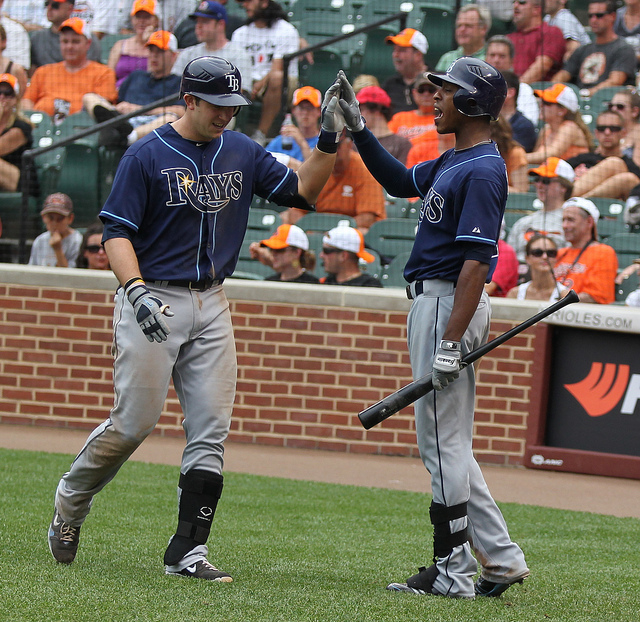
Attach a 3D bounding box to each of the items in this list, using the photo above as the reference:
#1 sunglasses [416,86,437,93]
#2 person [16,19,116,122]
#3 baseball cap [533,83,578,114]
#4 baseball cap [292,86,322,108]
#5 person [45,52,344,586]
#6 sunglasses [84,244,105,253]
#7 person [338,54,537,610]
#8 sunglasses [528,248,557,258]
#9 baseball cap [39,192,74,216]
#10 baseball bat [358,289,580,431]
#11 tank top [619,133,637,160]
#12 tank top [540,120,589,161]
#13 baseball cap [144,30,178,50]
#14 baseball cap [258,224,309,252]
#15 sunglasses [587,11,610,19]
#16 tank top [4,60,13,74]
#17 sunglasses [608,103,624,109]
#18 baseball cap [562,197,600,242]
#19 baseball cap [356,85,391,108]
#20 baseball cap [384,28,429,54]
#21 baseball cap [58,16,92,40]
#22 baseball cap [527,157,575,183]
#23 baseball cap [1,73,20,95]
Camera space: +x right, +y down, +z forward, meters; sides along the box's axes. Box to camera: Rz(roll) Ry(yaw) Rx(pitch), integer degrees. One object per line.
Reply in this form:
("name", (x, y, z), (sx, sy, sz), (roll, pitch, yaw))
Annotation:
("sunglasses", (0.792, -1.647, 12.895), (0.067, 0.045, 0.268), (5, 2, -18))
("person", (-2.033, -1.812, 13.701), (0.808, 1.053, 0.648), (1, 8, -4))
("baseball cap", (1.758, -1.598, 12.890), (0.305, 0.110, 0.191), (20, 7, -5))
("baseball cap", (-0.102, -1.623, 13.210), (0.244, 0.144, 0.377), (4, 3, 4))
("person", (-0.655, 0.027, 8.750), (1.215, 2.440, 0.571), (5, 1, -9))
("sunglasses", (-1.580, -0.435, 12.066), (0.044, 0.052, 0.196), (4, 2, -36))
("person", (0.644, 0.079, 8.772), (1.122, 2.621, 0.683), (5, 1, 7))
("sunglasses", (1.474, -0.388, 11.565), (0.174, 0.062, 0.077), (5, 1, 8))
("baseball cap", (-1.882, -0.761, 12.483), (0.148, 0.115, 0.210), (2, 5, 5))
("baseball bat", (0.909, 0.302, 10.062), (1.622, 0.179, 0.166), (-26, -37, -5))
("tank top", (2.213, -1.170, 12.523), (0.145, 0.154, 0.035), (4, 2, -42))
("tank top", (1.861, -1.235, 12.872), (0.265, 0.317, 0.339), (23, -26, -26))
("baseball cap", (-1.245, -2.131, 13.670), (0.234, 0.178, 0.334), (0, -1, 17))
("baseball cap", (-0.242, -0.501, 11.909), (0.259, 0.146, 0.181), (1, 0, -8))
("sunglasses", (2.134, -2.289, 13.384), (0.060, 0.049, 0.180), (4, 2, -43))
("tank top", (-2.447, -1.921, 13.617), (0.047, 0.091, 0.156), (5, 1, -7))
("sunglasses", (2.141, -1.502, 12.709), (0.078, 0.043, 0.196), (5, 2, -16))
("baseball cap", (1.733, -0.673, 11.679), (0.186, 0.250, 0.252), (-3, -5, 27))
("baseball cap", (0.375, -1.601, 12.919), (0.336, 0.174, 0.234), (0, 4, -7))
("baseball cap", (0.680, -2.125, 13.660), (0.288, 0.146, 0.203), (14, 8, -18))
("baseball cap", (-1.962, -2.272, 13.868), (0.258, 0.171, 0.367), (5, 1, -9))
("baseball cap", (1.651, -1.003, 12.332), (0.269, 0.129, 0.175), (6, 1, -4))
("baseball cap", (-2.366, -1.741, 13.267), (0.158, 0.157, 0.065), (17, 24, 31))
